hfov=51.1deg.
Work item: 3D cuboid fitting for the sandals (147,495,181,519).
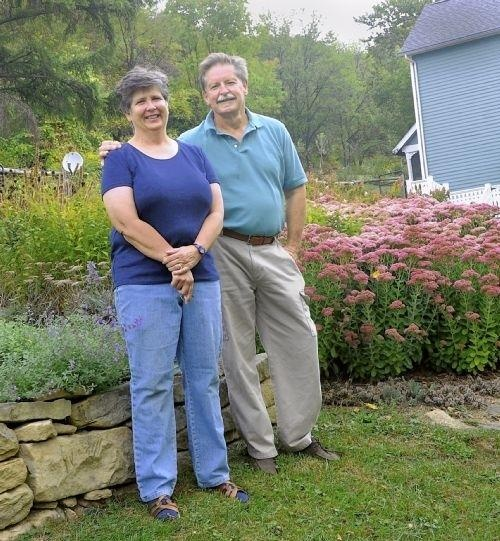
[{"bbox_3d":[-0.414,1.130,2.521,0.076,0.061,0.143,0,-10,-17],"label":"sandals"}]

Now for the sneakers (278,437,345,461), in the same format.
[{"bbox_3d":[0.383,1.111,3.229,0.391,0.142,0.133,0,8,12],"label":"sneakers"}]

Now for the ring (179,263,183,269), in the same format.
[{"bbox_3d":[-0.323,-0.020,2.501,0.015,0.019,0.006,0,-4,-29],"label":"ring"}]

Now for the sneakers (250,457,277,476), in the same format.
[{"bbox_3d":[0.085,1.147,3.090,0.059,0.063,0.157,-11,4,-38],"label":"sneakers"}]

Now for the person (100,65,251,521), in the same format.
[{"bbox_3d":[-0.387,0.061,2.642,0.636,2.239,0.507,-3,5,-20],"label":"person"}]
